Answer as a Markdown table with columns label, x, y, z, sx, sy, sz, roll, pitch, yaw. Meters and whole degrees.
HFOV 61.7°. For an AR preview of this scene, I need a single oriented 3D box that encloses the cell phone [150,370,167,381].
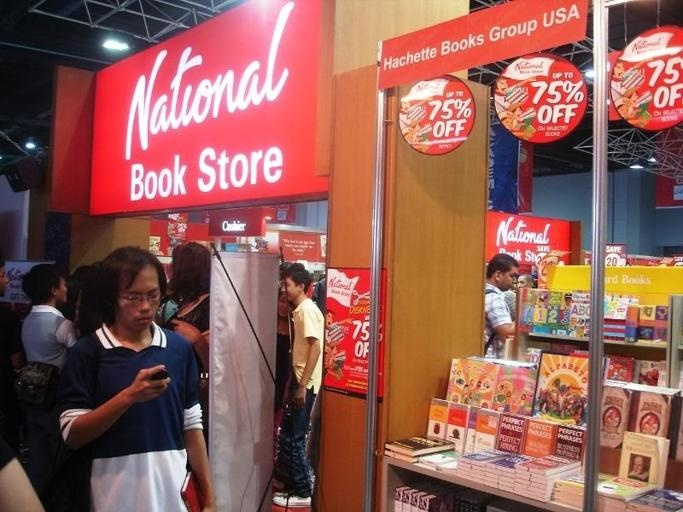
| label | x | y | z | sx | sy | sz | roll | pitch | yaw |
| --- | --- | --- | --- | --- | --- | --- | --- | --- | --- |
| cell phone | -0.761 | 0.506 | 2.442 | 0.025 | 0.035 | 0.073 | 2 | -2 | 37 |

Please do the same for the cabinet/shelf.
| label | x | y | z | sx | sy | sz | roll | pitch | yaw |
| --- | --- | --- | --- | --- | --- | --- | --- | --- | --- |
| cabinet/shelf | 1.096 | 0.755 | 3.342 | 0.575 | 1.155 | 1.121 | 17 | -14 | -41 |

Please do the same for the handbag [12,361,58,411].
| label | x | y | z | sx | sy | sz | roll | pitch | yaw |
| --- | --- | --- | --- | --- | --- | --- | --- | --- | --- |
| handbag | -1.726 | 0.729 | 3.395 | 0.285 | 0.311 | 0.217 | 4 | 0 | 3 |
